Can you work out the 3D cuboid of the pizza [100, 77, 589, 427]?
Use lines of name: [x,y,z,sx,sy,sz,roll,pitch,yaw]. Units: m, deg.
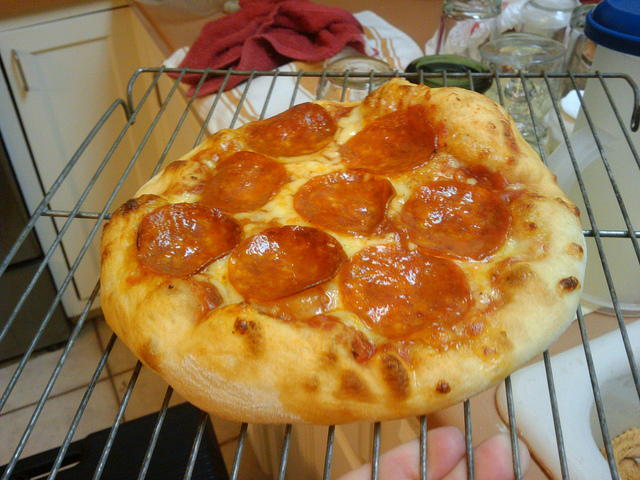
pizza: [0.029,-0.003,1.068,0.894,0.310,0.659,-14,42,-13]
